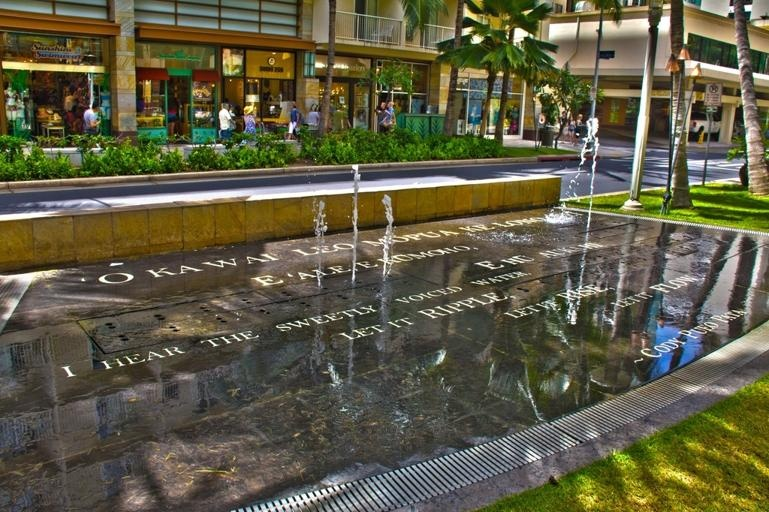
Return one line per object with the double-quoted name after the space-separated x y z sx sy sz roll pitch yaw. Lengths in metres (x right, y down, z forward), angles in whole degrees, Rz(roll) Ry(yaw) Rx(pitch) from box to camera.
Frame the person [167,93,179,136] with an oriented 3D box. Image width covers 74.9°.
-12.021 -8.060 28.538 0.295 2.204 0.699 11 18 30 "person"
